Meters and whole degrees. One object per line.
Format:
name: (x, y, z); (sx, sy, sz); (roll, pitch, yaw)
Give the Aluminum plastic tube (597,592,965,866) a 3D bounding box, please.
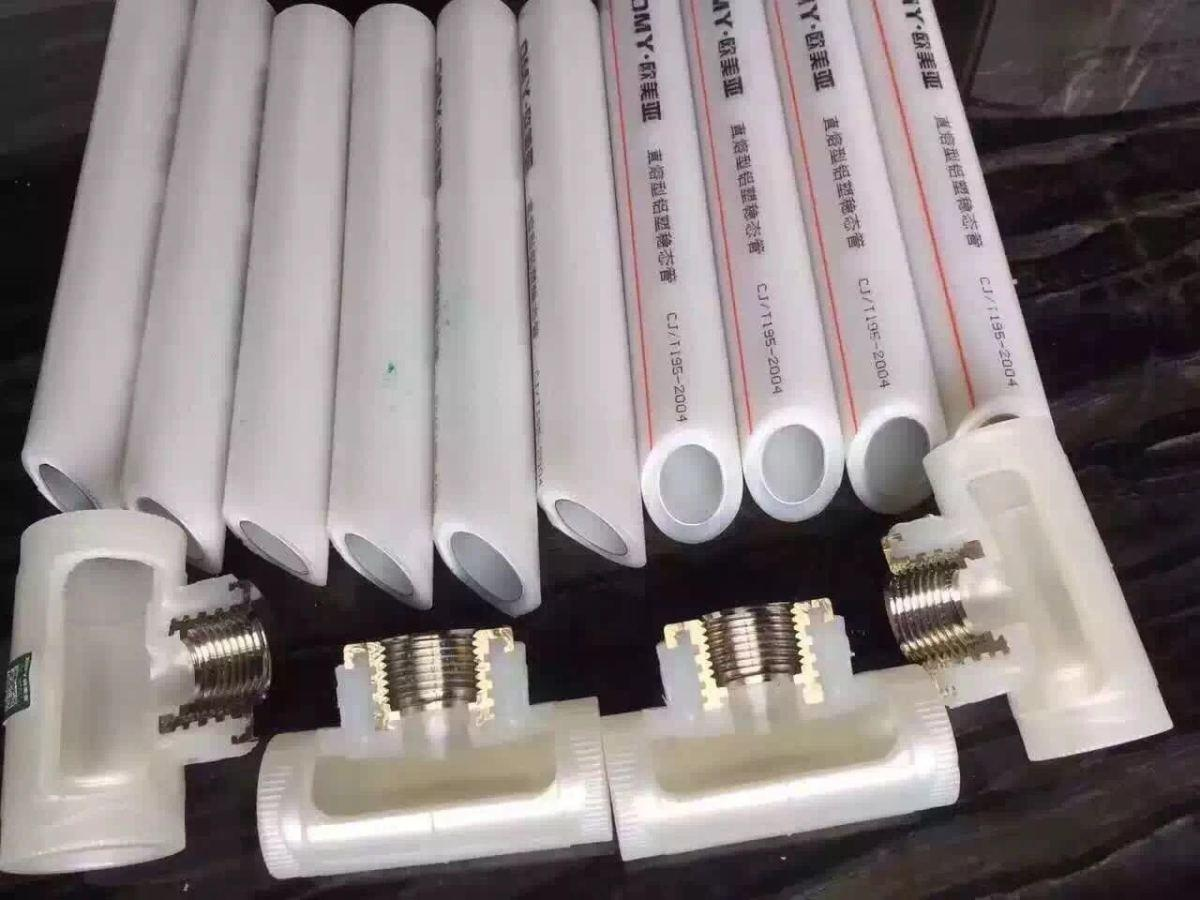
Aluminum plastic tube: (0.188, 0.327, 1.328); (0.419, 0.148, 0.296); (-8, 76, 0)
